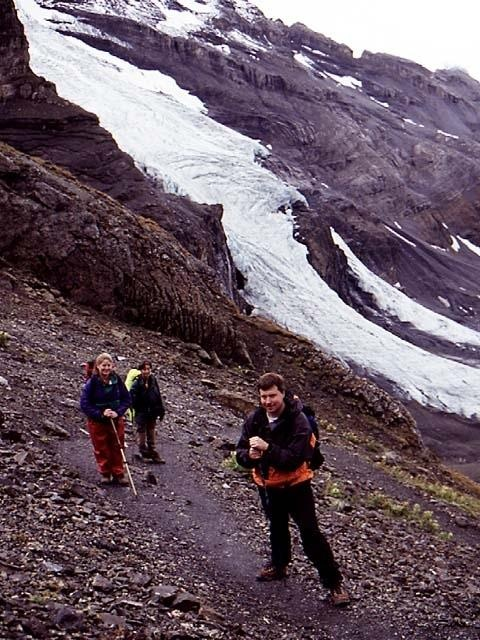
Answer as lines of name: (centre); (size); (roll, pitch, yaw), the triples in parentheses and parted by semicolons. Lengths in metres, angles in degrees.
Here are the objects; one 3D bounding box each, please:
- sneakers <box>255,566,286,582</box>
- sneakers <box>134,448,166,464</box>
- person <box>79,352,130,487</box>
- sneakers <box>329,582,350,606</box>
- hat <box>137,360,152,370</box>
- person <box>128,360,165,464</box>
sneakers: (0.467, 4.003, 16.340); (0.467, 0.249, 0.218); (17, -22, 6)
sneakers: (-1.648, 2.510, 18.995); (0.643, 0.228, 0.205); (0, 3, 22)
person: (-2.236, 1.678, 17.445); (0.926, 2.227, 0.496); (7, 13, -6)
sneakers: (1.537, 4.206, 15.906); (0.305, 0.350, 0.113); (-14, -21, -25)
hat: (-1.718, 0.835, 18.778); (0.179, 0.166, 0.193); (-1, -2, -12)
person: (-1.695, 1.768, 18.929); (0.775, 1.626, 0.375); (10, 13, 7)
